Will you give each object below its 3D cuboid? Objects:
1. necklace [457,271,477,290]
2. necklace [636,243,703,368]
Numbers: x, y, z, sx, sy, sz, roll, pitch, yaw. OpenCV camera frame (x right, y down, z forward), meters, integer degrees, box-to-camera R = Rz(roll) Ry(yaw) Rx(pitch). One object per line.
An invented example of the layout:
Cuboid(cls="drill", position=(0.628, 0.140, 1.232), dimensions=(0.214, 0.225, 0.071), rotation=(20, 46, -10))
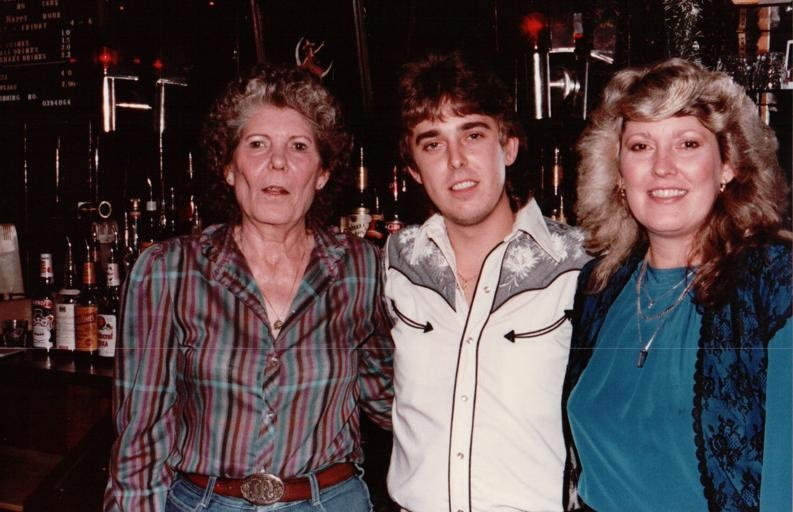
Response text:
Cuboid(cls="necklace", position=(0.249, 0.088, 2.616), dimensions=(0.056, 0.050, 0.013), rotation=(-8, -22, 17))
Cuboid(cls="necklace", position=(0.836, 0.154, 2.360), dimensions=(0.134, 0.386, 0.020), rotation=(22, -16, 11))
